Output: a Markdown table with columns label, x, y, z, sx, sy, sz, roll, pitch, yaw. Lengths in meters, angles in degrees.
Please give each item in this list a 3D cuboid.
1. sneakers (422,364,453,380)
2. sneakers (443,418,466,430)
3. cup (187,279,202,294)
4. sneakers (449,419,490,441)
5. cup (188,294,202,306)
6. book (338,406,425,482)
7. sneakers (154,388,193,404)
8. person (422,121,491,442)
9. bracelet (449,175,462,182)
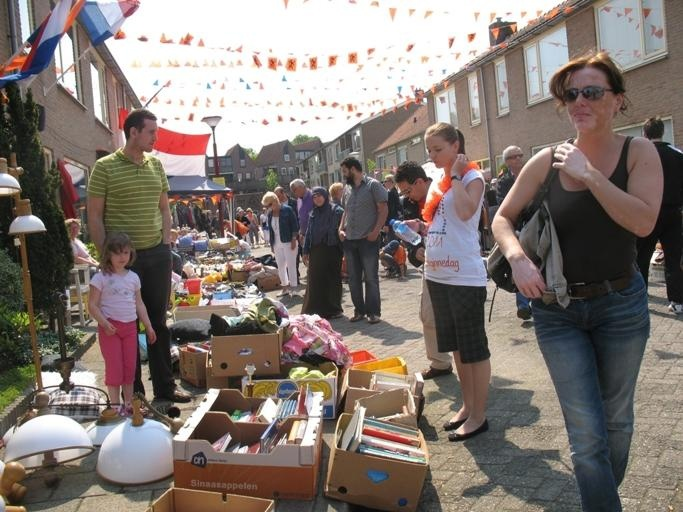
| label | x | y | z | sx | sy | sz | roll | pitch | yaw |
| --- | --- | --- | --- | --- | --- | --- | --- | --- | --- |
| sneakers | 0.947 | 1.184 | 5.581 | 0.352 | 0.154 | 0.125 | 0 | -2 | -12 |
| sneakers | 0.896 | 1.337 | 4.347 | 0.170 | 0.048 | 0.080 | -9 | 4 | -27 |
| cup | -2.784 | 0.566 | 10.402 | 0.350 | 0.362 | 0.219 | -1 | -3 | -16 |
| sneakers | 0.962 | 1.364 | 4.246 | 0.342 | 0.146 | 0.120 | -1 | -1 | -13 |
| cup | -2.442 | 0.724 | 9.086 | 0.225 | 0.208 | 0.257 | 1 | -3 | -7 |
| book | 0.255 | 1.222 | 3.612 | 0.416 | 0.201 | 0.441 | 16 | -1 | 2 |
| sneakers | -1.588 | 1.343 | 5.256 | 0.381 | 0.182 | 0.148 | -3 | -1 | 0 |
| person | 0.894 | 0.172 | 4.346 | 0.531 | 2.445 | 0.477 | -3 | -1 | 29 |
| bracelet | 0.871 | -0.591 | 4.153 | 0.087 | 0.041 | 0.045 | -3 | -1 | -7 |
